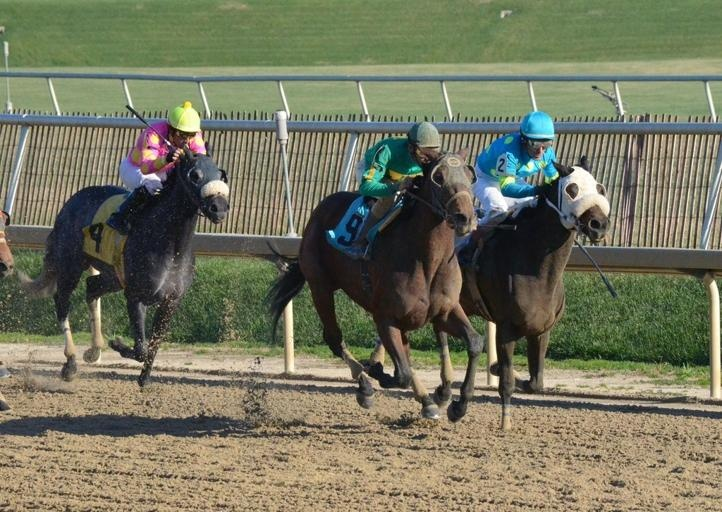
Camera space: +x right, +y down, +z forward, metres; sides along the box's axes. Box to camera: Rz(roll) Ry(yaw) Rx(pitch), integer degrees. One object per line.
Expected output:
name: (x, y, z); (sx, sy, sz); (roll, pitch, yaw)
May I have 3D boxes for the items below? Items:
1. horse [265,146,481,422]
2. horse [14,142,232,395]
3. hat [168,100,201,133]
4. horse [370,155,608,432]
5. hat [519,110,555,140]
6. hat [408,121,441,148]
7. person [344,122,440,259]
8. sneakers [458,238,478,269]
horse: (0.329, 0.332, 18.012); (0.851, 2.961, 2.383); (-9, 10, -43)
horse: (-2.852, 0.119, 19.345); (0.986, 2.983, 4.072); (1, 6, -40)
hat: (-2.055, -1.569, 18.715); (0.364, 0.361, 0.317); (-3, 8, -11)
horse: (1.647, 0.495, 18.593); (0.938, 2.898, 3.938); (3, 2, -19)
hat: (1.921, -1.436, 18.139); (0.361, 0.323, 0.343); (-1, 8, 3)
hat: (0.662, -1.292, 17.536); (0.232, 0.199, 0.329); (-13, 34, -27)
person: (0.344, -0.726, 17.988); (0.749, 1.672, 1.265); (1, 14, -30)
sneakers: (1.154, -0.028, 18.041); (0.125, 0.342, 0.175); (14, -6, -40)
